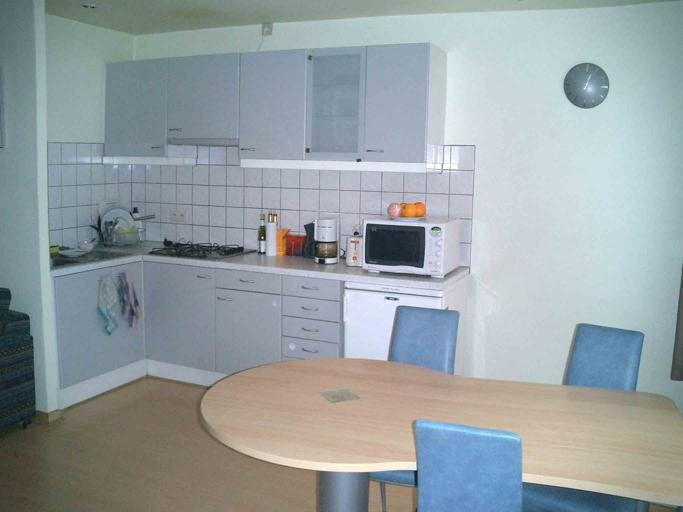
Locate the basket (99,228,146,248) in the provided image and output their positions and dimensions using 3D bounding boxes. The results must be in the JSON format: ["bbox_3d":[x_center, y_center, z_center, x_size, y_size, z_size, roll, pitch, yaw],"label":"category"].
[{"bbox_3d":[-2.035,-0.175,5.156,0.330,0.151,0.207,-7,15,-31],"label":"basket"}]

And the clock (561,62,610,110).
[{"bbox_3d":[1.786,-1.243,4.024,0.334,0.366,0.025,2,9,23],"label":"clock"}]

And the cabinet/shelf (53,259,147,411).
[{"bbox_3d":[-1.958,0.624,4.440,0.493,0.999,0.943,7,12,26],"label":"cabinet/shelf"}]

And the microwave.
[{"bbox_3d":[0.471,-0.067,4.049,0.561,0.399,0.447,2,3,27],"label":"microwave"}]

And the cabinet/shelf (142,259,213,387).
[{"bbox_3d":[-1.455,0.550,4.943,0.703,0.866,0.675,5,-2,-33],"label":"cabinet/shelf"}]

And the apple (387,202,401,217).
[{"bbox_3d":[0.399,-0.338,4.236,0.093,0.117,0.098,6,-16,-17],"label":"apple"}]

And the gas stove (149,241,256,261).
[{"bbox_3d":[-1.242,-0.079,4.878,0.855,0.089,0.599,6,14,17],"label":"gas stove"}]

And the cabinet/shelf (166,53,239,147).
[{"bbox_3d":[-1.163,-1.336,4.826,0.674,0.714,0.394,1,7,6],"label":"cabinet/shelf"}]

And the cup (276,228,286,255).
[{"bbox_3d":[-0.520,-0.119,4.811,0.092,0.208,0.096,1,13,0],"label":"cup"}]

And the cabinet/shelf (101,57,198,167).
[{"bbox_3d":[-1.948,-1.328,5.051,0.619,0.791,0.507,-5,19,-34],"label":"cabinet/shelf"}]

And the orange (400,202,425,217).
[{"bbox_3d":[0.536,-0.359,4.300,0.131,0.074,0.136,-2,11,-7],"label":"orange"}]

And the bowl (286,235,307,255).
[{"bbox_3d":[-0.398,-0.089,4.785,0.170,0.166,0.074,3,13,4],"label":"bowl"}]

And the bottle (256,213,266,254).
[{"bbox_3d":[-0.702,-0.202,4.891,0.069,0.323,0.270,-1,13,-9],"label":"bottle"}]

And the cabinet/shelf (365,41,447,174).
[{"bbox_3d":[0.304,-1.155,4.283,0.622,0.799,0.648,-11,19,-42],"label":"cabinet/shelf"}]

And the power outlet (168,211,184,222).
[{"bbox_3d":[-1.569,-0.358,5.273,0.160,0.125,0.085,1,2,17],"label":"power outlet"}]

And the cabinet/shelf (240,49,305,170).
[{"bbox_3d":[-0.582,-1.260,4.692,0.646,0.818,0.690,5,12,24],"label":"cabinet/shelf"}]

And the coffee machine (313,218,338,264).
[{"bbox_3d":[-0.126,-0.130,4.520,0.192,0.352,0.309,1,13,-4],"label":"coffee machine"}]
